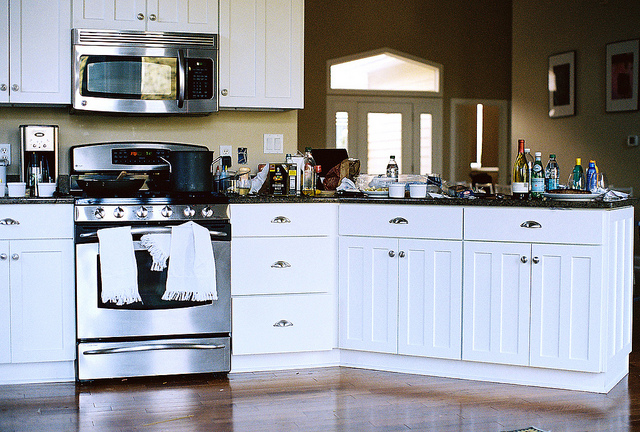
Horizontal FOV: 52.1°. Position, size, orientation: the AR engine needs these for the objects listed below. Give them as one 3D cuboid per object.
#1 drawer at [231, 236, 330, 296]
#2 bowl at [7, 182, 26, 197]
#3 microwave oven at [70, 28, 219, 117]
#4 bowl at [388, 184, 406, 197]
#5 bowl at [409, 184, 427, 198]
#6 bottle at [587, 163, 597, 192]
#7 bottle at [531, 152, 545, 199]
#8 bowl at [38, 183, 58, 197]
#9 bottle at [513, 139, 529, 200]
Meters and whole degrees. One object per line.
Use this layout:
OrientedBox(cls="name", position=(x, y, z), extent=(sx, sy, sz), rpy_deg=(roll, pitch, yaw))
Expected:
OrientedBox(cls="drawer", position=(-0.269, 0.321, 4.435), extent=(0.629, 0.328, 0.416), rpy_deg=(0, -1, -13))
OrientedBox(cls="bowl", position=(-1.999, -0.175, 4.287), extent=(0.104, 0.070, 0.099), rpy_deg=(1, 5, 0))
OrientedBox(cls="microwave oven", position=(-1.212, -1.026, 4.925), extent=(1.093, 0.596, 0.630), rpy_deg=(3, 6, 5))
OrientedBox(cls="bowl", position=(0.526, -0.174, 4.442), extent=(0.094, 0.063, 0.089), rpy_deg=(2, 1, 0))
OrientedBox(cls="bowl", position=(0.664, -0.174, 4.439), extent=(0.110, 0.087, 0.098), rpy_deg=(0, 6, 7))
OrientedBox(cls="bottle", position=(1.815, -0.270, 4.356), extent=(0.060, 0.169, 0.099), rpy_deg=(1, 6, 22))
OrientedBox(cls="bottle", position=(1.429, -0.270, 4.287), extent=(0.085, 0.289, 0.342), rpy_deg=(1, 6, 18))
OrientedBox(cls="bowl", position=(-1.813, -0.178, 4.365), extent=(0.093, 0.062, 0.092), rpy_deg=(1, 4, 0))
OrientedBox(cls="bottle", position=(1.315, -0.309, 4.277), extent=(0.101, 0.373, 0.354), rpy_deg=(1, 6, 17))
